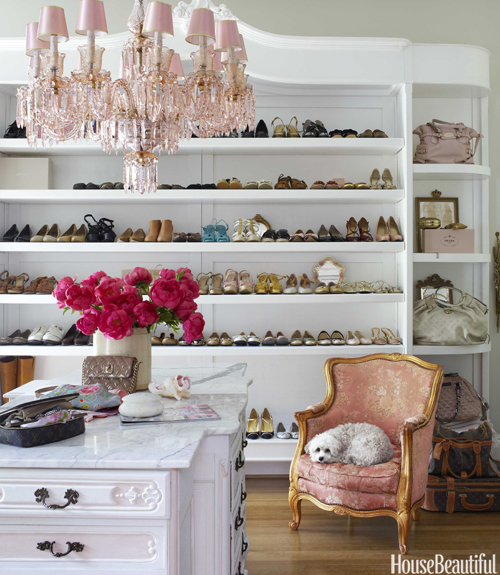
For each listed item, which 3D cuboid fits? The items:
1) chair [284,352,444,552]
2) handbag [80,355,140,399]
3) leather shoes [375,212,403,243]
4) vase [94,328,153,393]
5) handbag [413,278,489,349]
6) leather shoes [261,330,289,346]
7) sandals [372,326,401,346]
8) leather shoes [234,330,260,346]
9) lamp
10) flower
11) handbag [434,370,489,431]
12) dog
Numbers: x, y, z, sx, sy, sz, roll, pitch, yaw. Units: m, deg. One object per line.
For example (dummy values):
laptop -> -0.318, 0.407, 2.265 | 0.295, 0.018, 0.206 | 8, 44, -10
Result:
chair -> 0.563, 0.756, 2.935 | 0.712, 0.772, 0.645 | -3, 4, 30
handbag -> -0.504, 0.323, 2.140 | 0.227, 0.142, 0.084 | -2, -4, 22
leather shoes -> 0.898, -0.381, 3.830 | 0.124, 0.073, 0.205 | 0, 32, 7
vase -> -0.442, 0.257, 2.176 | 0.239, 0.239, 0.241 | -1, -3, 39
handbag -> 1.332, 0.164, 3.892 | 0.574, 0.246, 0.707 | 1, 20, 12
leather shoes -> 0.160, 0.329, 3.835 | 0.178, 0.077, 0.238 | -1, 2, 1
sandals -> 0.897, 0.320, 3.856 | 0.134, 0.055, 0.228 | 0, 0, -1
leather shoes -> -0.028, 0.334, 3.828 | 0.179, 0.071, 0.239 | -1, 2, -6
lamp -> -0.430, -0.738, 2.328 | 0.918, 0.699, 0.595 | -2, 2, -22
flower -> -0.462, 0.080, 2.187 | 0.559, 0.235, 0.465 | 1, 10, -21
handbag -> 1.255, 0.655, 3.521 | 0.331, 0.276, 0.188 | -21, -6, 41
dog -> 0.484, 0.757, 2.871 | 0.427, 0.146, 0.290 | -2, 10, 7
